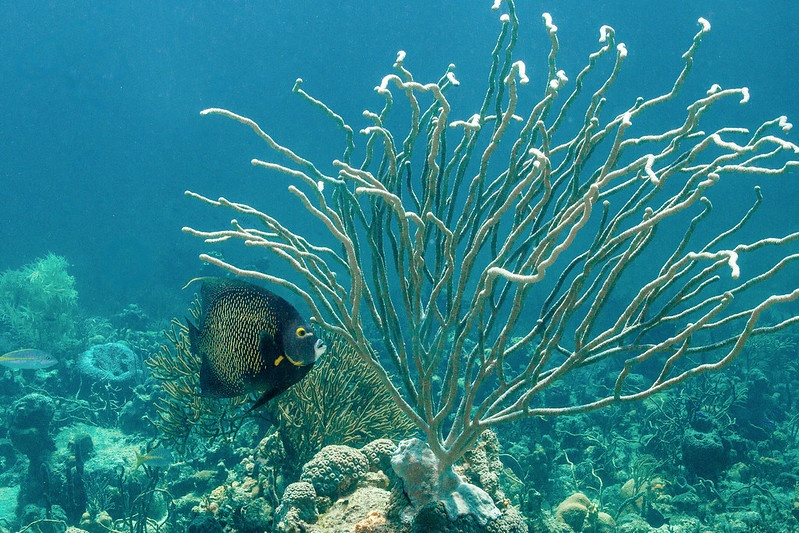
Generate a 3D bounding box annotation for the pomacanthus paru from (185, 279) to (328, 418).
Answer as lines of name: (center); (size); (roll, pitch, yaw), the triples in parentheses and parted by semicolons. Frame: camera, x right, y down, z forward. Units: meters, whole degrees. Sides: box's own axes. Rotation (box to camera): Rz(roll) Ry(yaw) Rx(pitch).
pomacanthus paru: (-6.867, 3.351, 38.158); (6.418, 6.134, 2.063); (-3, 3, 1)
